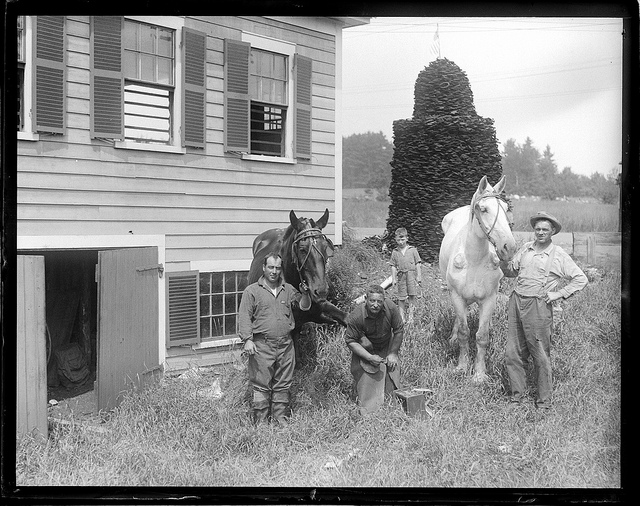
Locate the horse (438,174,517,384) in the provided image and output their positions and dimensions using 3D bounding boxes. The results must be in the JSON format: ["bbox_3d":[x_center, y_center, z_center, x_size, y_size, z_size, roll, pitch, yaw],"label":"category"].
[{"bbox_3d":[2.035,0.164,8.301,0.865,2.892,1.128,3,11,5],"label":"horse"}]

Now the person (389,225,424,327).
[{"bbox_3d":[1.282,0.310,9.408,0.387,1.381,0.317,-4,17,4],"label":"person"}]

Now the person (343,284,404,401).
[{"bbox_3d":[0.665,1.053,7.822,0.709,1.378,0.579,0,4,12],"label":"person"}]

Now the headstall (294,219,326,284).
[{"bbox_3d":[-0.120,-0.021,7.732,0.297,0.871,0.314,-1,8,-4],"label":"headstall"}]

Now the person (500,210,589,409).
[{"bbox_3d":[2.727,0.733,7.934,0.899,2.471,0.501,0,4,19],"label":"person"}]

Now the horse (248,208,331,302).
[{"bbox_3d":[-0.406,0.033,8.639,0.747,1.477,2.382,-4,8,-18],"label":"horse"}]

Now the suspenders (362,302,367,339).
[{"bbox_3d":[0.550,0.813,7.766,0.054,0.417,0.110,-1,4,2],"label":"suspenders"}]

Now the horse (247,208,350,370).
[{"bbox_3d":[-0.426,0.346,9.259,1.002,2.360,3.660,-1,10,-16],"label":"horse"}]

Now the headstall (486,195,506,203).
[{"bbox_3d":[2.213,-0.674,7.886,0.297,0.098,0.119,-5,6,-33],"label":"headstall"}]
